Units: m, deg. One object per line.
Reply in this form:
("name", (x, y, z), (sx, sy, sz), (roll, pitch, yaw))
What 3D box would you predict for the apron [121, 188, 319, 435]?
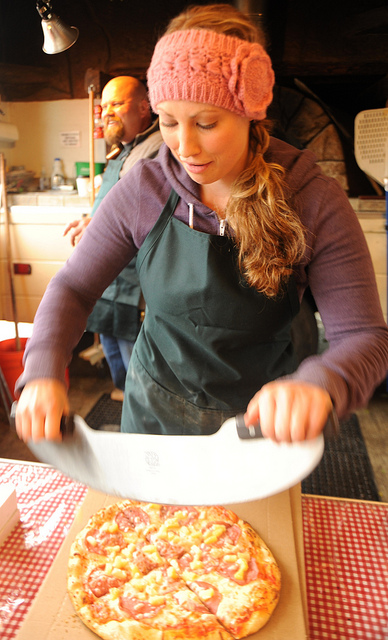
("apron", (0.012, 0.022, 0.976), (0.409, 0.582, 0.196), (8, 23, 16))
